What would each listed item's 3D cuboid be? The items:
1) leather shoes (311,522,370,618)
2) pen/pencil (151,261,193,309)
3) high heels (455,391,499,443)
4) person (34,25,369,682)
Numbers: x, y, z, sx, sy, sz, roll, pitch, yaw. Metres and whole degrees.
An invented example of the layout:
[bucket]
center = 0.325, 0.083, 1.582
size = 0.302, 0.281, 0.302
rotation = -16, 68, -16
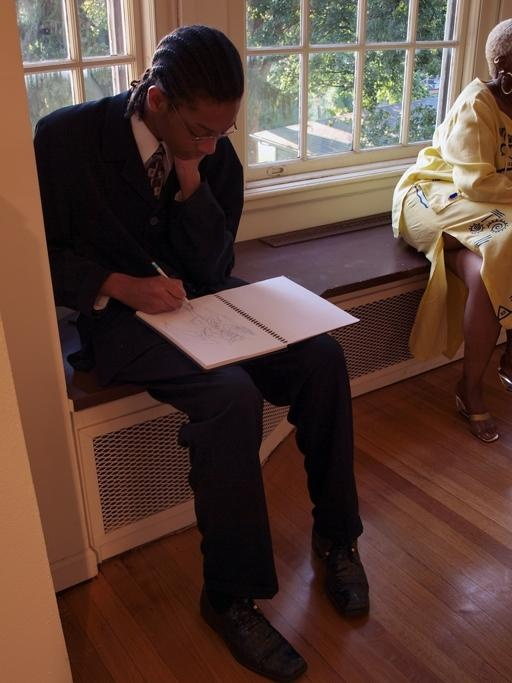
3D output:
[leather shoes]
center = 0.171, 0.468, 1.151
size = 0.059, 0.067, 0.173
rotation = -8, 31, -8
[pen/pencil]
center = -0.172, -0.115, 1.128
size = 0.014, 0.131, 0.014
rotation = -37, 6, 20
[high heels]
center = 0.675, 0.239, 1.720
size = 0.064, 0.038, 0.171
rotation = -23, 51, -6
[person]
center = -0.054, -0.031, 1.089
size = 0.486, 1.068, 0.699
rotation = -20, 29, -34
